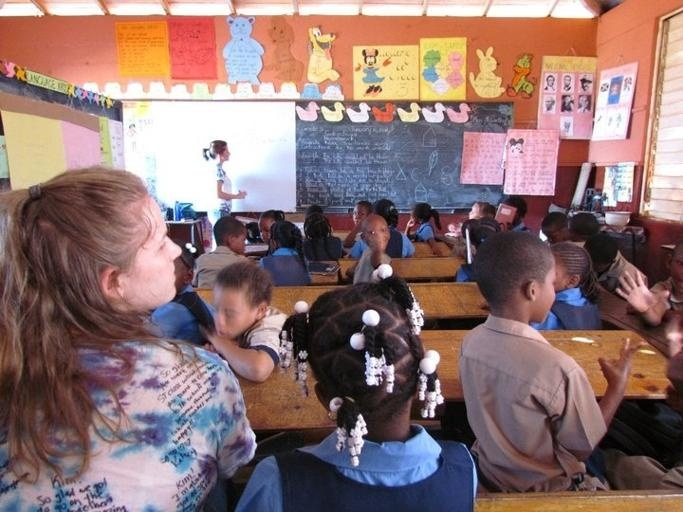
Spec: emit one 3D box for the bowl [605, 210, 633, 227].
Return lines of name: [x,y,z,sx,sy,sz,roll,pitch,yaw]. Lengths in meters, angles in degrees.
bowl: [2.241,-0.309,4.369,0.157,0.078,0.137,-4,8,-29]
